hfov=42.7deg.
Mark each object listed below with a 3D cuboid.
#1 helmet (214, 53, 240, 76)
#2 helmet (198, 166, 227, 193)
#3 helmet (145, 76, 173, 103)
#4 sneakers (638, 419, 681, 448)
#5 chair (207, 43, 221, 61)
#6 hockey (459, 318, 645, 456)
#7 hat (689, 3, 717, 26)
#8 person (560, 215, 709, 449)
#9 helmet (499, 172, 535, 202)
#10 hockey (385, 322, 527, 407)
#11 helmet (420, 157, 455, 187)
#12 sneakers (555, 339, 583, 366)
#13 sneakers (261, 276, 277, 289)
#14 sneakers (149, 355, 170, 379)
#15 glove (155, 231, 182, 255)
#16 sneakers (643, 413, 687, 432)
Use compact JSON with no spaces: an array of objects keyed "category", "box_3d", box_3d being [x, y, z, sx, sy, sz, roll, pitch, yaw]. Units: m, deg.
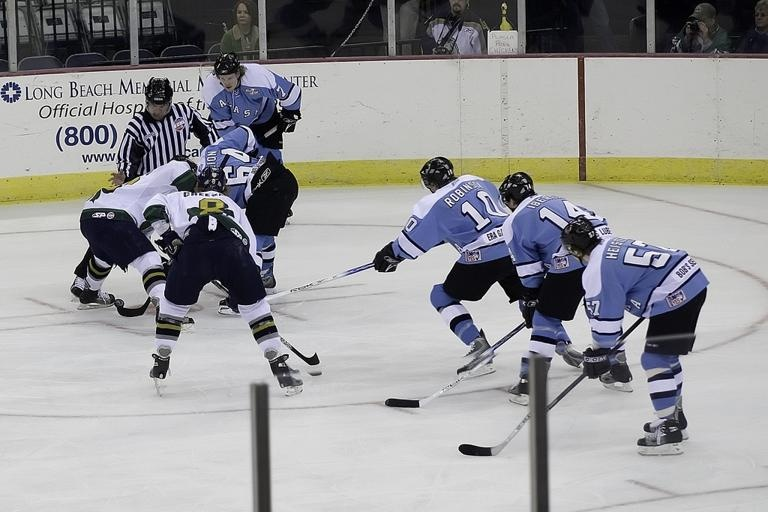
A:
[{"category":"helmet","box_3d":[-1.286,-1.585,8.109,0.184,0.107,0.221,2,24,11]},{"category":"helmet","box_3d":[-1.056,-0.481,6.062,0.162,0.172,0.175,3,46,-10]},{"category":"helmet","box_3d":[-1.808,-1.326,7.928,0.239,0.229,0.263,1,28,-6]},{"category":"sneakers","box_3d":[1.426,0.918,5.072,0.242,0.118,0.125,1,0,8]},{"category":"chair","box_3d":[-1.974,-2.357,11.377,0.198,0.210,0.241,0,1,-2]},{"category":"hockey","box_3d":[0.932,0.755,5.481,1.356,0.177,0.091,-27,34,-15]},{"category":"hat","box_3d":[3.720,-2.798,11.387,0.332,0.143,0.216,7,8,-35]},{"category":"person","box_3d":[1.302,0.410,5.190,0.735,1.198,0.402,1,10,14]},{"category":"helmet","box_3d":[0.793,-0.416,5.962,0.219,0.170,0.175,12,12,16]},{"category":"hockey","box_3d":[0.455,0.702,6.180,0.730,0.076,0.124,-33,68,-15]},{"category":"helmet","box_3d":[0.329,-0.528,6.342,0.234,0.170,0.174,12,32,19]},{"category":"sneakers","box_3d":[1.150,0.609,6.170,0.190,0.075,0.129,32,-1,-17]},{"category":"sneakers","box_3d":[-0.876,0.199,7.416,0.097,0.106,0.116,-6,11,-14]},{"category":"sneakers","box_3d":[-1.338,0.670,5.877,0.112,0.148,0.168,8,1,-20]},{"category":"glove","box_3d":[-1.368,-0.065,6.069,0.109,0.119,0.306,-22,21,-21]},{"category":"sneakers","box_3d":[1.485,0.878,5.171,0.287,0.103,0.092,3,-12,-37]}]
